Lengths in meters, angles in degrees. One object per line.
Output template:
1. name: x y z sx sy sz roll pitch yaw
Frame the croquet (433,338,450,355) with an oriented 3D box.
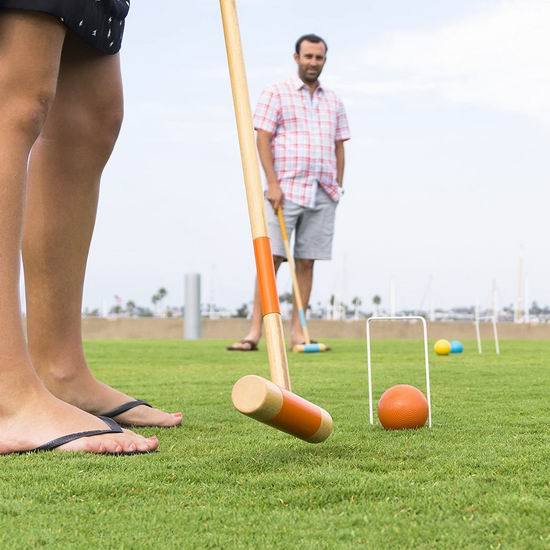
1. croquet: 0.941 0.396 5.269 0.082 0.093 0.084 2 -4 5

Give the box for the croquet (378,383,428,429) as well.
1. croquet: 0.322 0.328 2.341 0.125 0.102 0.108 1 -2 9

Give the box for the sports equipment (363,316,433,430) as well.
1. sports equipment: 0.351 0.284 2.646 0.190 0.402 0.014 -4 -36 6
